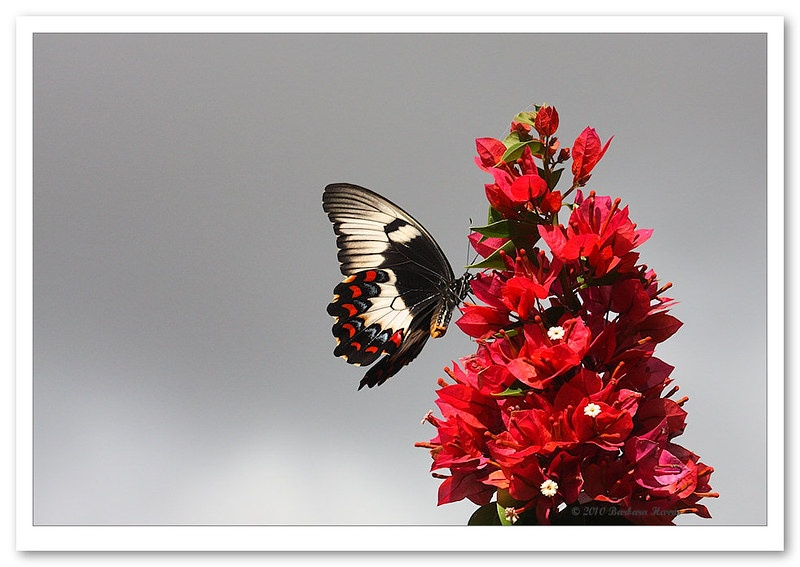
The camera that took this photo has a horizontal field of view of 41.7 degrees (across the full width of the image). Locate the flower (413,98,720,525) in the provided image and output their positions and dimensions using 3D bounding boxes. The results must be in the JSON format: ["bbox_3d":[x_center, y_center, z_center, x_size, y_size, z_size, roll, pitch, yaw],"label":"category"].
[{"bbox_3d":[0.367,0.163,2.829,0.757,0.656,1.073,-14,-61,-3],"label":"flower"}]

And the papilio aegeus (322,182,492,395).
[{"bbox_3d":[0.016,-0.009,3.645,0.494,0.638,0.628,6,-88,7],"label":"papilio aegeus"}]
